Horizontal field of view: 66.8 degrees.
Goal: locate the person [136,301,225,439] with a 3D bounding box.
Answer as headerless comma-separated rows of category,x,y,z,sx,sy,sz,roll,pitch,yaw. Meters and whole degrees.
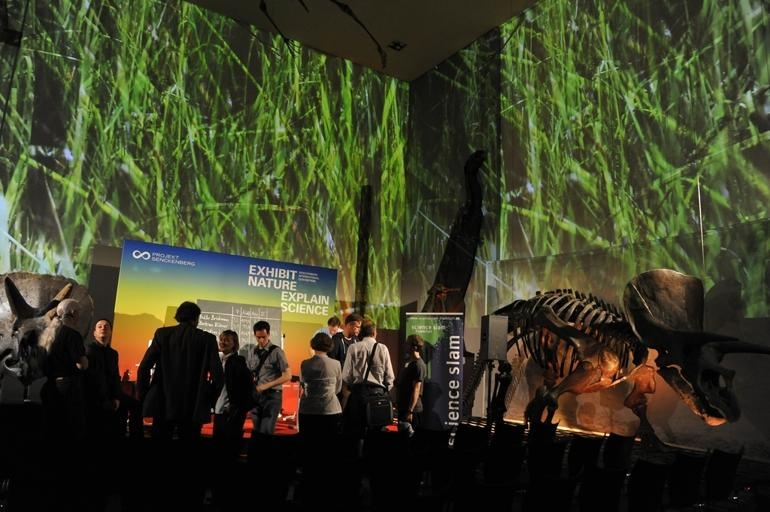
person,-2.056,1.266,5.900,0.692,1.708,0.493,6,9,-8

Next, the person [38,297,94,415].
person,-3.828,1.164,7.001,0.411,1.277,1.118,10,-10,-35

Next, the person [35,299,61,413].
person,-4.128,1.277,7.144,0.358,1.272,0.362,8,-9,-32

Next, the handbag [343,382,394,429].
handbag,-0.208,1.672,6.581,0.382,0.609,0.593,5,-33,-6
